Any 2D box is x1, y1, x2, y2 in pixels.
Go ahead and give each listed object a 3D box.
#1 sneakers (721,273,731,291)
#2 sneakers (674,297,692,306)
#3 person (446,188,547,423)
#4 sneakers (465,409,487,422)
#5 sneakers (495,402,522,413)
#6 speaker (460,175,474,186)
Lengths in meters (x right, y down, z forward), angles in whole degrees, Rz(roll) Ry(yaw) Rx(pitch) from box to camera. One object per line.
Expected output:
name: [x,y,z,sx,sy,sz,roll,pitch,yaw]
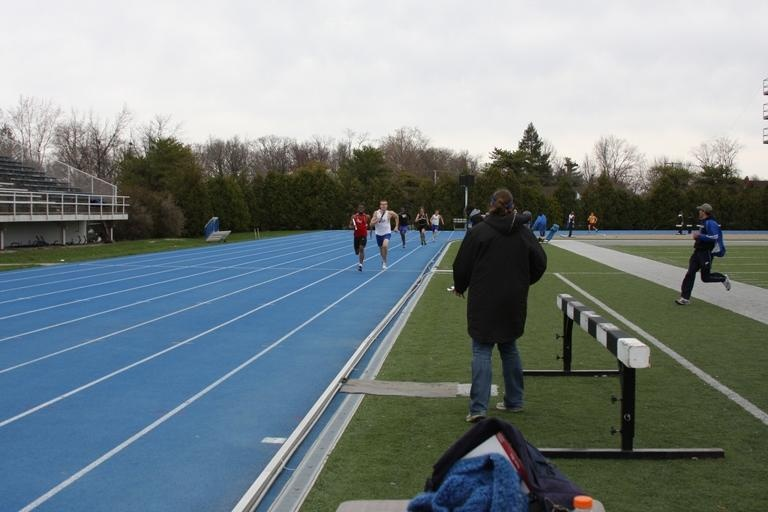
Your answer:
sneakers: [8.096,0.625,14.913,0.137,0.398,0.182,-5,-30,15]
sneakers: [6.300,0.963,13.299,0.323,0.151,0.124,2,1,0]
person: [1.328,0.541,7.306,0.979,2.580,0.671,-2,7,-27]
sneakers: [1.047,1.785,7.120,0.119,0.142,0.328,1,1,-5]
sneakers: [1.488,1.755,7.497,0.253,0.119,0.122,6,5,37]
speaker: [3.672,-3.331,27.992,0.572,0.468,0.783,2,7,3]
